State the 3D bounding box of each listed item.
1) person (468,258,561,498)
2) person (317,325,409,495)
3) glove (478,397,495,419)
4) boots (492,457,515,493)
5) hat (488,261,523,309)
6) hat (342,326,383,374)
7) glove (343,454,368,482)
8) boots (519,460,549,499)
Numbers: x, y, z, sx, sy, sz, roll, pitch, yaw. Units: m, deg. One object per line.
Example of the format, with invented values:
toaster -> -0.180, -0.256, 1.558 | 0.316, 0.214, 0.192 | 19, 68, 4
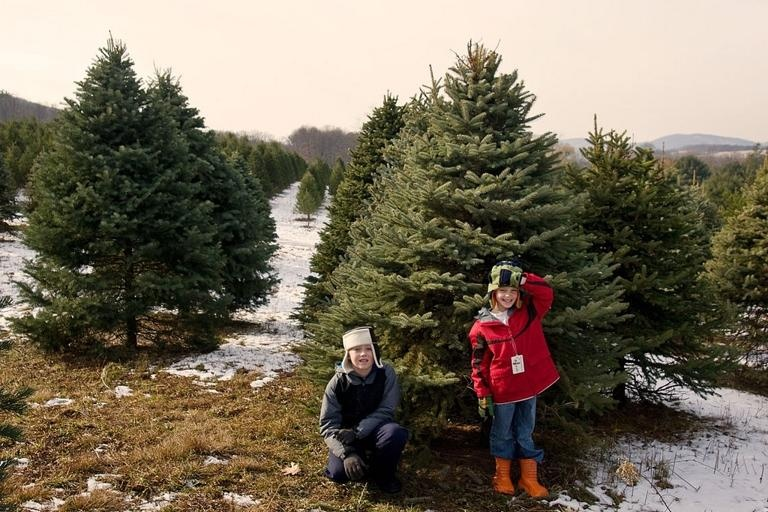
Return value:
person -> 1.875, 1.763, 9.120 | 1.295, 3.305, 0.908 | 8, 15, 15
person -> -0.298, 2.228, 9.021 | 1.222, 2.269, 0.876 | 2, 15, -6
glove -> 1.493, 2.265, 9.182 | 0.245, 0.317, 0.233 | 4, 48, -4
boots -> 1.784, 3.240, 9.197 | 0.289, 0.531, 0.571 | 2, 1, 4
hat -> 1.836, 0.414, 9.241 | 0.496, 0.621, 0.635 | 6, -10, 15
hat -> -0.336, 1.365, 9.161 | 0.618, 0.589, 0.657 | -7, -2, 7
glove -> -0.425, 3.018, 8.886 | 0.229, 0.255, 0.440 | 45, 27, 8
boots -> 2.191, 3.241, 9.158 | 0.265, 0.470, 0.520 | -8, 10, -30
